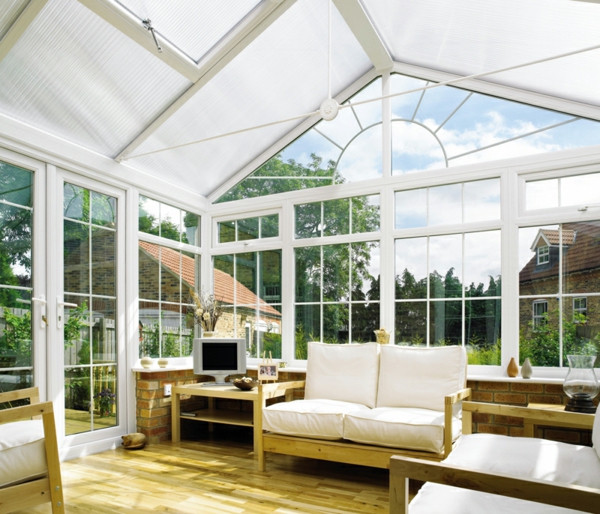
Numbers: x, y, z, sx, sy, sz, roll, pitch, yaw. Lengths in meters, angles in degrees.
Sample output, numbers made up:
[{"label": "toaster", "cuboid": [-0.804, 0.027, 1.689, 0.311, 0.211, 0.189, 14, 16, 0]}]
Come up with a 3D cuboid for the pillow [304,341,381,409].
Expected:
[{"label": "pillow", "cuboid": [0.401, 1.105, 4.741, 0.597, 0.410, 0.211, -4, -42, 25]}]

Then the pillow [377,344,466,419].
[{"label": "pillow", "cuboid": [1.016, 1.057, 4.296, 0.608, 0.402, 0.234, -2, -6, 32]}]

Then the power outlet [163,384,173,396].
[{"label": "power outlet", "cuboid": [-1.378, 1.383, 5.379, 0.049, 0.117, 0.133, -3, -9, 14]}]

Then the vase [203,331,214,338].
[{"label": "vase", "cuboid": [-1.029, 0.883, 5.867, 0.084, 0.045, 0.072, 1, -7, 3]}]

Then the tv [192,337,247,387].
[{"label": "tv", "cuboid": [-0.857, 1.112, 5.520, 0.624, 0.483, 0.137, -1, -11, -3]}]
